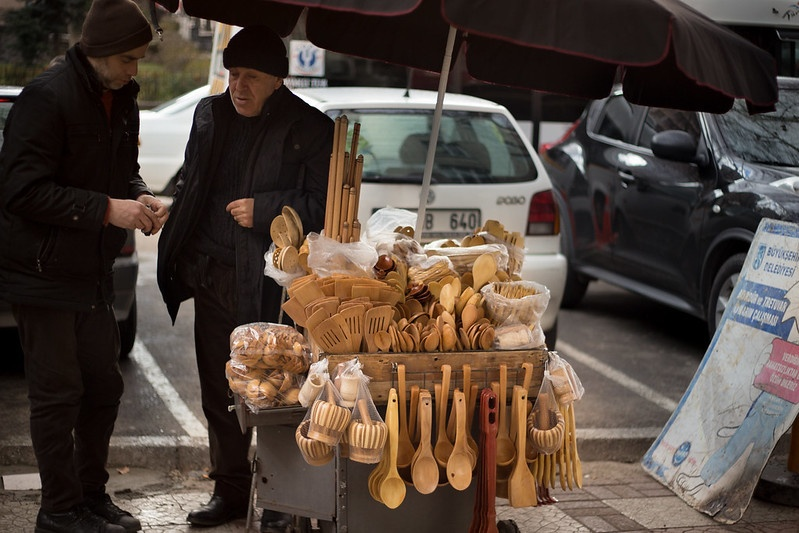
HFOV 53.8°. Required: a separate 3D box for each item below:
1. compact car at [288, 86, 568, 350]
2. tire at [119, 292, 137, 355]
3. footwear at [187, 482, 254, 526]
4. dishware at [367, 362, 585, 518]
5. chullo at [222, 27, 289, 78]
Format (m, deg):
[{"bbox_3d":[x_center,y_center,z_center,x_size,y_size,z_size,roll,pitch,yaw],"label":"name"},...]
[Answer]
[{"bbox_3d":[0.359,-0.723,7.725,1.478,1.589,2.799,-1,21,-10],"label":"compact car"},{"bbox_3d":[-2.479,0.664,7.203,0.146,0.520,0.457,-1,-9,-16],"label":"tire"},{"bbox_3d":[-1.148,1.548,5.124,0.455,0.265,0.193,6,-4,-43],"label":"footwear"},{"bbox_3d":[0.374,0.942,4.359,0.707,0.633,0.209,-2,3,-13],"label":"dishware"},{"bbox_3d":[-0.898,-1.352,4.969,0.408,0.357,0.454,4,11,4],"label":"chullo"}]
